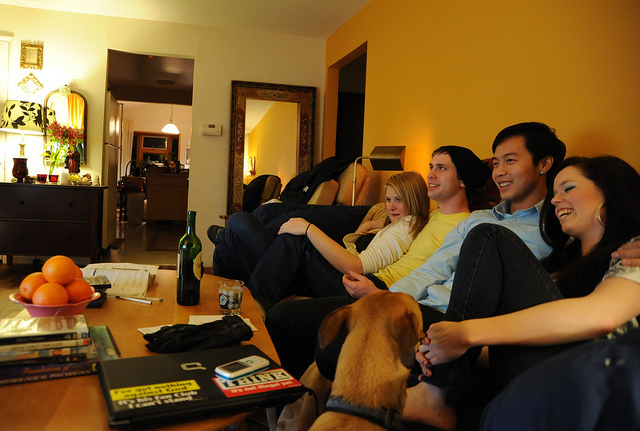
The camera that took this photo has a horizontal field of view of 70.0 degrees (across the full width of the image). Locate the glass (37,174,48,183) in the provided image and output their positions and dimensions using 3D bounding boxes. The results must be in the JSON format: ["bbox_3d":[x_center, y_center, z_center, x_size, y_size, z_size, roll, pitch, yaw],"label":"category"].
[{"bbox_3d":[-2.704,-0.350,4.441,0.080,0.061,0.074,-2,7,-28],"label":"glass"}]

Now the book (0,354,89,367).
[{"bbox_3d":[-0.801,0.420,1.330,0.214,0.031,0.008,-4,14,-20],"label":"book"}]

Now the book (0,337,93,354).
[{"bbox_3d":[-0.798,0.378,1.329,0.225,0.044,0.009,-4,14,-23],"label":"book"}]

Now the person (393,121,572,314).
[{"bbox_3d":[0.726,0.030,2.074,0.725,0.901,0.496,5,6,-3],"label":"person"}]

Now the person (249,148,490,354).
[{"bbox_3d":[0.200,0.134,2.619,1.635,0.980,0.860,0,-10,29],"label":"person"}]

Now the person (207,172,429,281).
[{"bbox_3d":[-0.030,0.145,2.643,1.090,0.583,0.676,-3,-12,1],"label":"person"}]

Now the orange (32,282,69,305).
[{"bbox_3d":[-0.906,0.267,1.535,0.080,0.079,0.092,-18,-8,25],"label":"orange"}]

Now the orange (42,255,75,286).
[{"bbox_3d":[-0.934,0.199,1.631,0.121,0.129,0.128,4,-6,-22],"label":"orange"}]

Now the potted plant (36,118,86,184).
[{"bbox_3d":[-2.645,-0.667,4.695,0.434,0.616,0.285,-6,15,-29],"label":"potted plant"}]

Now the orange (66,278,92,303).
[{"bbox_3d":[-0.842,0.264,1.608,0.070,0.084,0.071,-7,-5,-5],"label":"orange"}]

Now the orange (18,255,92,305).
[{"bbox_3d":[-0.953,0.248,1.635,0.192,0.145,0.256,5,3,-6],"label":"orange"}]

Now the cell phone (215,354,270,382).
[{"bbox_3d":[-0.228,0.443,1.353,0.111,0.019,0.060,-6,12,-41],"label":"cell phone"}]

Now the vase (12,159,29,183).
[{"bbox_3d":[-2.877,-0.427,4.382,0.122,0.207,0.091,-9,17,-38],"label":"vase"}]

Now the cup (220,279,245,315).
[{"bbox_3d":[-0.364,0.340,1.842,0.114,0.132,0.115,1,-12,0],"label":"cup"}]

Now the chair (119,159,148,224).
[{"bbox_3d":[-3.563,-0.483,8.594,0.524,1.220,0.382,4,-8,-23],"label":"chair"}]

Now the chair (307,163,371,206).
[{"bbox_3d":[0.159,-0.247,4.162,0.423,0.361,0.427,-11,1,-23],"label":"chair"}]

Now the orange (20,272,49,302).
[{"bbox_3d":[-1.003,0.253,1.637,0.074,0.078,0.097,18,12,34],"label":"orange"}]

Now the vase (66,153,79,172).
[{"bbox_3d":[-2.507,-0.531,4.651,0.103,0.183,0.057,-6,15,-28],"label":"vase"}]

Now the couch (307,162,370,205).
[{"bbox_3d":[0.185,-0.233,4.115,0.416,0.356,0.420,0,0,27],"label":"couch"}]

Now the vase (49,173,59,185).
[{"bbox_3d":[-2.653,-0.357,4.584,0.119,0.093,0.097,-5,8,-44],"label":"vase"}]
